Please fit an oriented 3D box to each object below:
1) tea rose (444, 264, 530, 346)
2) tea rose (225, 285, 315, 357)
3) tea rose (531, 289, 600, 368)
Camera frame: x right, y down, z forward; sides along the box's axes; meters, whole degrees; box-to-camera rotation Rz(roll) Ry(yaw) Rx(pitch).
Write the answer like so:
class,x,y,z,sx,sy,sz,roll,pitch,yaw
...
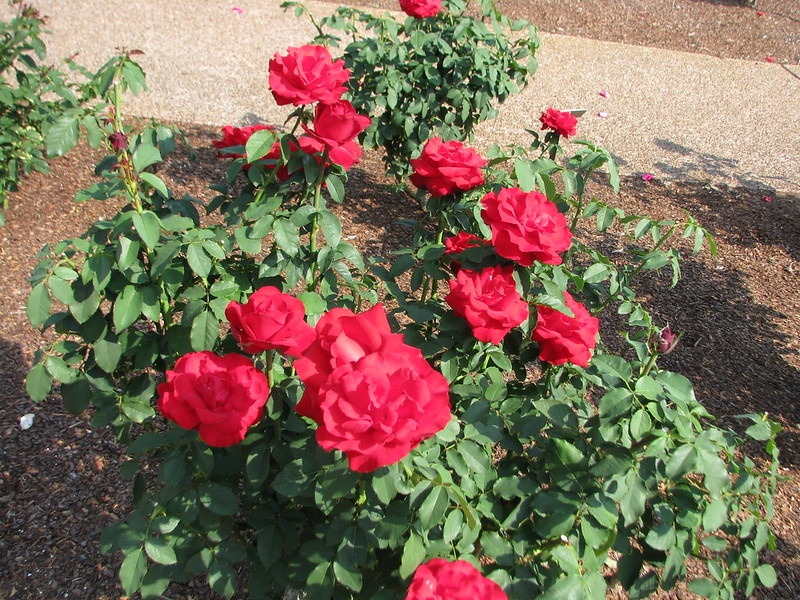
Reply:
class,x,y,z,sx,sy,sz,roll,pitch,yaw
tea rose,0.340,0.007,2.570,0.317,0.146,0.319,-7,68,1
tea rose,-0.479,0.068,2.424,0.299,0.152,0.281,21,58,1
tea rose,0.674,0.137,2.734,0.277,0.128,0.275,39,74,21
